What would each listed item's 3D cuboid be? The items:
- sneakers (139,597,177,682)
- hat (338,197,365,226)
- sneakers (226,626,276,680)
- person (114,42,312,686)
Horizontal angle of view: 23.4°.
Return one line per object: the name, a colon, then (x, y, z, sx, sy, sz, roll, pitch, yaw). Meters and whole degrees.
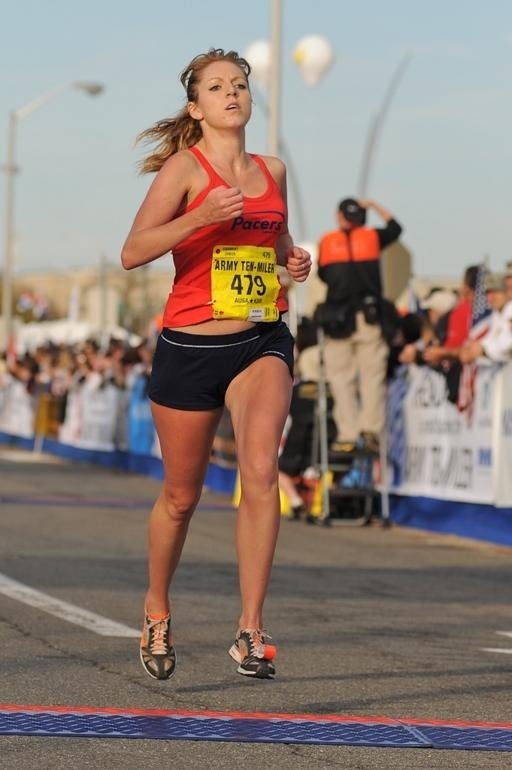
sneakers: (-0.295, 0.775, 3.649, 0.083, 0.086, 0.232, 3, 4, -5)
hat: (0.692, -1.224, 8.759, 0.164, 0.151, 0.376, 4, -1, -15)
sneakers: (-0.011, 0.741, 3.374, 0.115, 0.114, 0.203, 4, -1, -6)
person: (-0.153, -0.066, 3.495, 0.517, 1.522, 0.607, 5, -2, -1)
